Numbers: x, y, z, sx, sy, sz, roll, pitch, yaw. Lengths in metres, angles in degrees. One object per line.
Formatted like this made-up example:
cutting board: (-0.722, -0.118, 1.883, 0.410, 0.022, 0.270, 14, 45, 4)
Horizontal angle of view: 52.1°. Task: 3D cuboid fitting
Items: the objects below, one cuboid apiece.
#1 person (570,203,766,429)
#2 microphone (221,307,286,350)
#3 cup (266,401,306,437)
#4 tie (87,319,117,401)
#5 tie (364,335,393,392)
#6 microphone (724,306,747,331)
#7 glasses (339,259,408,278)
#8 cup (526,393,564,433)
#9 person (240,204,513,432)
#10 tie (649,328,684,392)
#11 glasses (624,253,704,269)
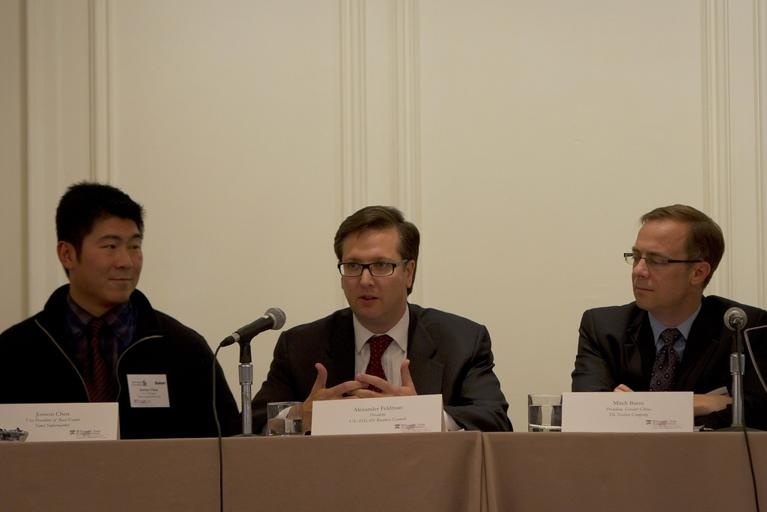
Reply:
person: (1.433, 0.312, 3.852, 0.689, 1.280, 0.666, -12, -31, 43)
microphone: (-0.535, 0.294, 3.257, 0.236, 0.151, 0.344, 1, -5, -6)
cup: (-0.391, 0.650, 3.068, 0.113, 0.117, 0.131, 3, -11, -16)
tie: (-1.366, 0.504, 3.784, 0.137, 0.392, 0.112, 1, -3, -22)
tie: (-0.032, 0.518, 3.757, 0.112, 0.222, 0.065, 8, 0, 0)
microphone: (1.385, 0.239, 3.119, 0.103, 0.114, 0.045, 1, 6, -1)
glasses: (-0.060, 0.069, 3.769, 0.323, 0.082, 0.081, 0, -4, 0)
cup: (0.636, 0.638, 3.161, 0.137, 0.168, 0.145, 1, -10, 0)
person: (0.023, 0.336, 3.987, 0.909, 1.286, 0.693, -4, -34, 6)
tie: (1.369, 0.506, 3.818, 0.115, 0.295, 0.183, -2, -4, 36)
glasses: (1.362, 0.023, 3.839, 0.345, 0.081, 0.102, -2, -5, 22)
